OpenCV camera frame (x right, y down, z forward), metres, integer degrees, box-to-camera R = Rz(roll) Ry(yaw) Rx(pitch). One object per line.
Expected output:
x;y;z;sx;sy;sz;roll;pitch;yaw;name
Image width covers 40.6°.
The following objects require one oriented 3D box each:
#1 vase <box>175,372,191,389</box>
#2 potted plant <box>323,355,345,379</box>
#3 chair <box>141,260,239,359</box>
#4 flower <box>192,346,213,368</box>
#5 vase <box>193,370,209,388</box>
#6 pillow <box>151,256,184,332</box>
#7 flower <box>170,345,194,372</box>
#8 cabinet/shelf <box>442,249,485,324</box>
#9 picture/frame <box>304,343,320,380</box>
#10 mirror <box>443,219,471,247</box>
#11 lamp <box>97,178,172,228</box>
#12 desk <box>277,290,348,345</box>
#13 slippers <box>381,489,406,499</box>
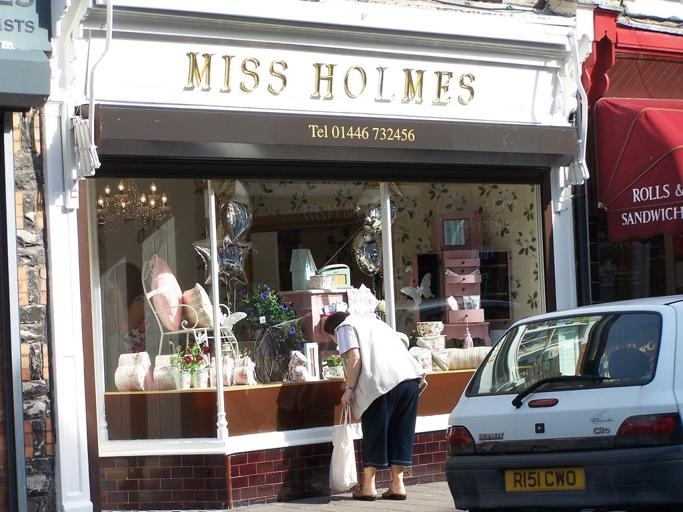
-1.606;1.272;9.443;0.148;0.133;0.143;-11;-15;37;vase
-0.082;1.188;9.868;0.234;0.281;0.257;0;-1;-23;potted plant
-1.498;0.696;9.674;0.657;1.006;0.759;-8;-21;18;chair
-1.421;1.022;9.517;0.193;0.230;0.172;1;-2;18;flower
-1.436;1.254;9.449;0.148;0.171;0.153;-11;-16;38;vase
-1.812;0.406;9.549;0.195;0.529;0.484;-14;-39;-4;pillow
-1.611;1.048;9.482;0.208;0.260;0.126;-7;-15;-11;flower
1.478;0.317;10.948;0.399;0.897;0.464;0;29;15;cabinet/shelf
-0.293;1.122;9.888;0.139;0.387;0.034;-4;0;38;picture/frame
1.343;-0.291;10.830;0.247;0.272;0.027;-10;19;-24;mirror
-2.119;-0.630;9.404;0.567;0.597;0.664;6;-3;-1;lamp
-0.297;0.578;10.226;0.459;0.812;0.774;-7;-7;42;desk
0.523;2.353;9.209;0.231;0.109;0.093;6;6;39;slippers
